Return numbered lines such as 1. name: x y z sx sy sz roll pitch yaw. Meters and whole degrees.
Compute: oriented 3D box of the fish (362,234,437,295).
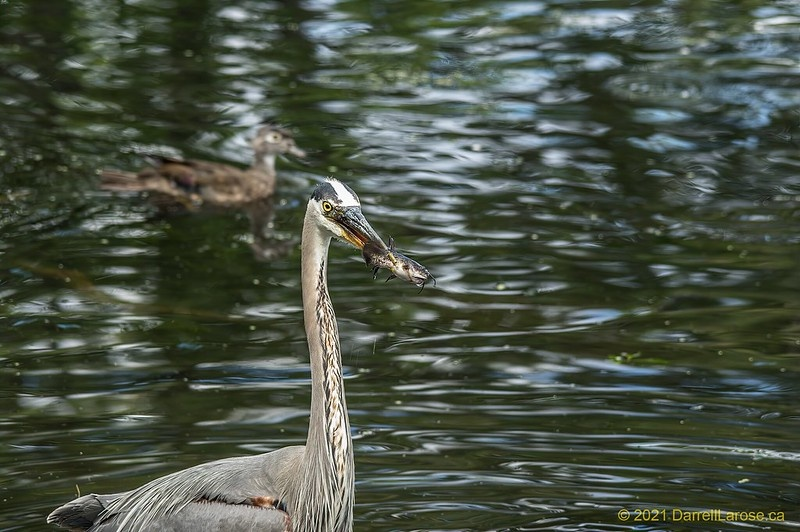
1. fish: -0.048 -0.034 8.232 0.522 0.417 0.765 -4 7 -2
